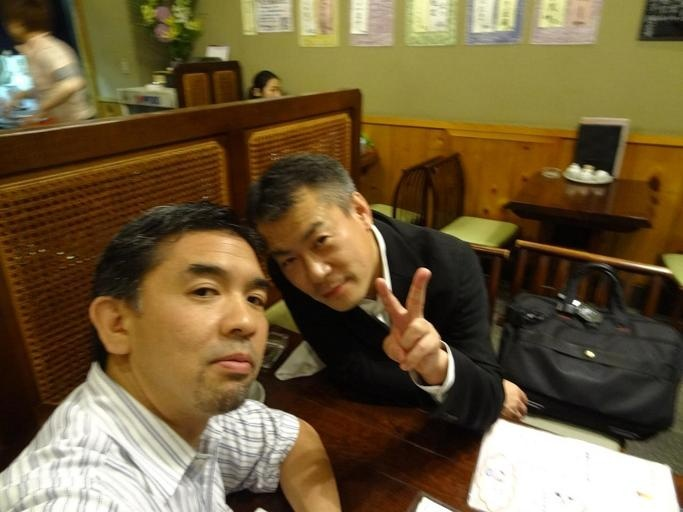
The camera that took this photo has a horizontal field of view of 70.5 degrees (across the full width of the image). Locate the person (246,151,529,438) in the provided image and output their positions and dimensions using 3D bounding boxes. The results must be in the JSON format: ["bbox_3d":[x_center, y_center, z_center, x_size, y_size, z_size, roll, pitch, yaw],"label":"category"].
[{"bbox_3d":[0.251,0.047,1.725,1.086,0.515,0.685,9,4,16],"label":"person"}]
